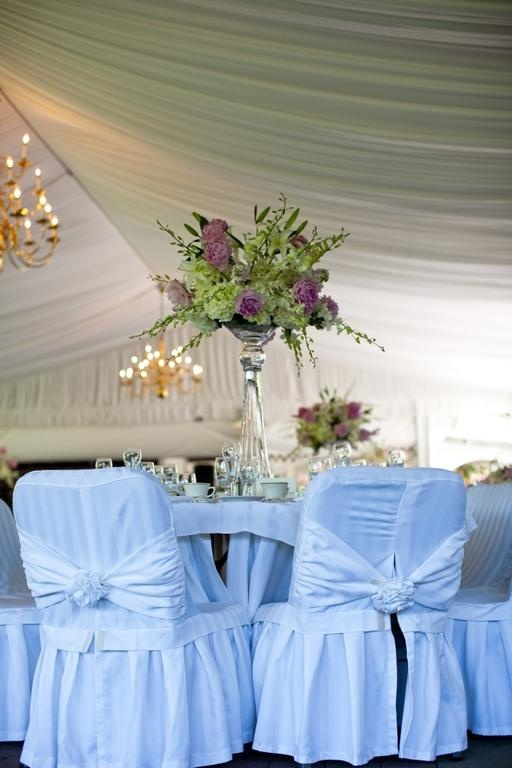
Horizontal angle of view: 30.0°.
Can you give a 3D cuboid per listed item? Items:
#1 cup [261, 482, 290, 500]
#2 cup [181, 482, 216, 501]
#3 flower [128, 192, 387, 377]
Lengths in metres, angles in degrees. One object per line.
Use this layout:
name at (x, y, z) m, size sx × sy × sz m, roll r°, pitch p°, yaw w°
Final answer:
cup at (0.066, 0.390, 3.419) m, size 0.068 × 0.043 × 0.071 m, roll 0°, pitch -19°, yaw 0°
cup at (-0.221, 0.404, 3.585) m, size 0.104 × 0.048 × 0.073 m, roll 1°, pitch -14°, yaw 3°
flower at (0.011, -0.697, 6.482) m, size 1.524 × 0.720 × 1.503 m, roll -5°, pitch -20°, yaw 24°
